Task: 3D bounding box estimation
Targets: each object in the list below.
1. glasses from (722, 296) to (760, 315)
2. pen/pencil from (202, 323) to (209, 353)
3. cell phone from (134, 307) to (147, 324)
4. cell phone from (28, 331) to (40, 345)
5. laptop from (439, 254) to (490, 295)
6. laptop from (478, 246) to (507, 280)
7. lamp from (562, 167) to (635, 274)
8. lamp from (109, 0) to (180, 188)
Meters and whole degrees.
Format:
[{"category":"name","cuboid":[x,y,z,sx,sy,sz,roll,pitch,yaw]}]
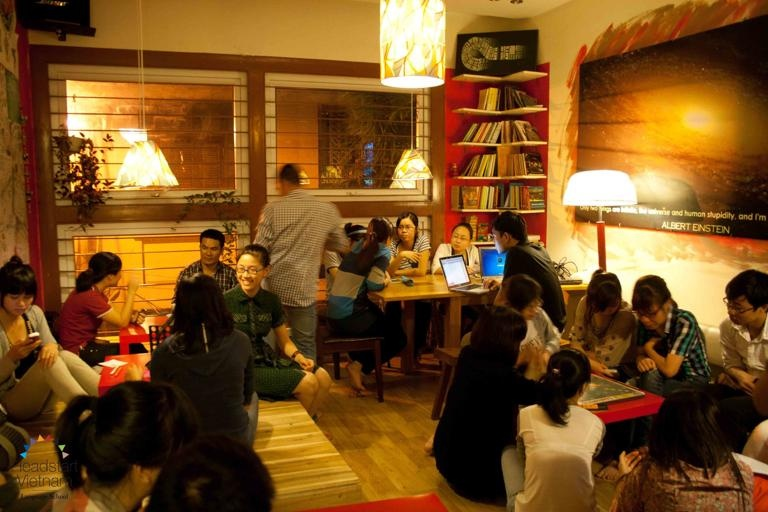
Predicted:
[{"category":"glasses","cuboid":[2.445,0.339,3.627,0.147,0.042,0.139,0,7,-14]},{"category":"pen/pencil","cuboid":[-0.929,0.427,2.785,0.026,0.149,0.008,-3,10,-8]},{"category":"cell phone","cuboid":[-2.285,0.567,5.026,0.088,0.086,0.242,-6,8,-41]},{"category":"cell phone","cuboid":[-2.264,0.535,3.474,0.084,0.067,0.081,-1,1,-41]},{"category":"laptop","cuboid":[0.793,0.192,5.243,0.382,0.274,0.392,7,8,39]},{"category":"laptop","cuboid":[1.125,0.081,5.617,0.359,0.327,0.274,0,-2,-15]},{"category":"lamp","cuboid":[2.086,-0.194,5.146,0.712,1.104,0.703,-5,-4,11]},{"category":"lamp","cuboid":[-2.283,-1.562,4.846,0.453,1.963,1.850,-6,11,-26]}]
